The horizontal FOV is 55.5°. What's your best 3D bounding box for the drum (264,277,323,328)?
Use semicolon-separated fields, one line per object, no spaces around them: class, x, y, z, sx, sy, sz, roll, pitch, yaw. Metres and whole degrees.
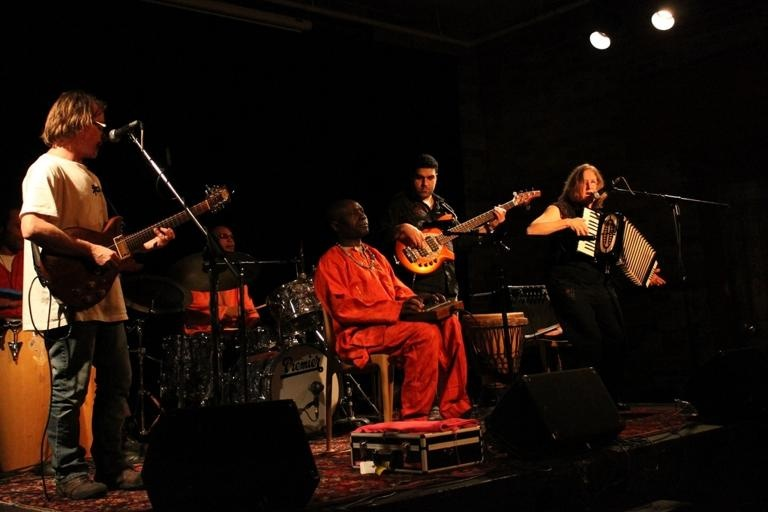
drum;-0.976;0.552;8.065;0.557;0.341;0.503;-31;-32;10

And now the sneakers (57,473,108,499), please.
sneakers;-2.438;1.853;5.889;0.391;0.156;0.181;-4;-7;19

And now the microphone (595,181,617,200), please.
microphone;2.475;-0.714;8.217;0.222;0.065;0.158;-45;21;0

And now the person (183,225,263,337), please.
person;-1.950;0.242;8.715;0.881;1.347;0.860;-9;21;-35

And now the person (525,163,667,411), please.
person;2.159;0.283;7.974;1.024;2.612;0.389;-5;-11;-23

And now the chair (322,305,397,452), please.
chair;-0.283;1.032;7.208;0.712;1.185;0.657;0;-23;7

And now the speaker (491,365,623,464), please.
speaker;1.543;1.347;6.409;0.999;0.653;0.795;-1;5;-38

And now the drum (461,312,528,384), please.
drum;1.280;1.049;8.529;0.769;0.734;0.779;-1;-3;-8
